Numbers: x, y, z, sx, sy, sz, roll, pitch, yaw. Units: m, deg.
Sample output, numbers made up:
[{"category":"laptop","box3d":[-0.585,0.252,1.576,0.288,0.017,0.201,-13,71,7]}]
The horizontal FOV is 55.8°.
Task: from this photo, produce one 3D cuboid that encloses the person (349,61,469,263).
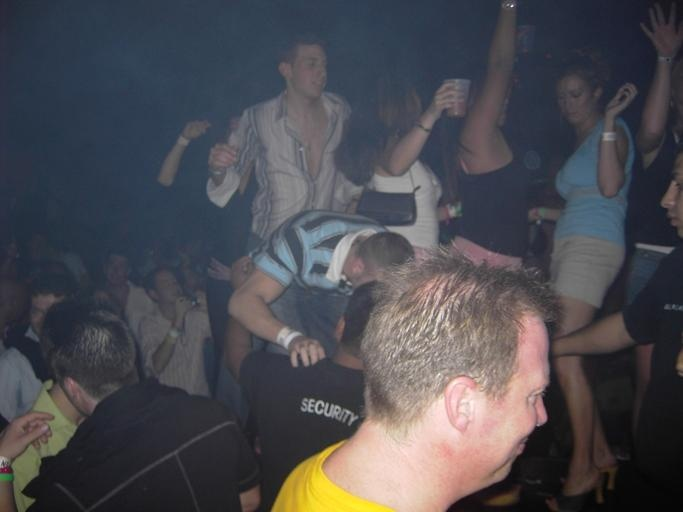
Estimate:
[{"category":"person","box3d":[0.373,-0.611,3.879,0.390,1.302,0.611,-11,31,-20]}]
